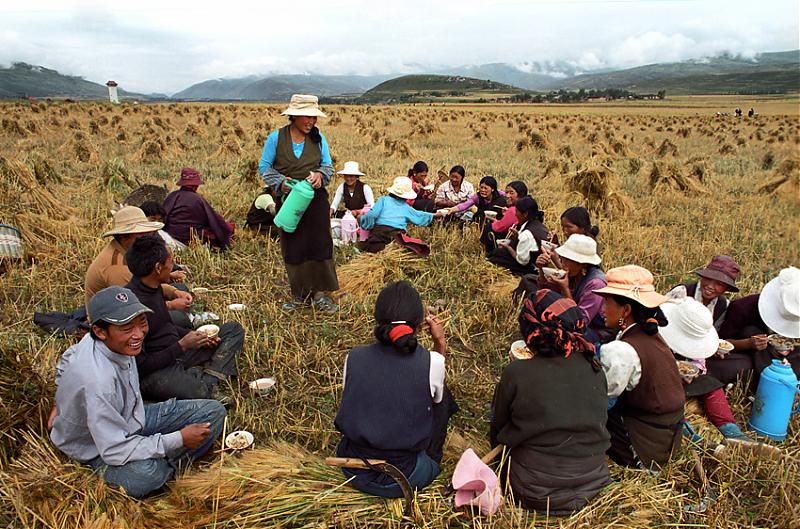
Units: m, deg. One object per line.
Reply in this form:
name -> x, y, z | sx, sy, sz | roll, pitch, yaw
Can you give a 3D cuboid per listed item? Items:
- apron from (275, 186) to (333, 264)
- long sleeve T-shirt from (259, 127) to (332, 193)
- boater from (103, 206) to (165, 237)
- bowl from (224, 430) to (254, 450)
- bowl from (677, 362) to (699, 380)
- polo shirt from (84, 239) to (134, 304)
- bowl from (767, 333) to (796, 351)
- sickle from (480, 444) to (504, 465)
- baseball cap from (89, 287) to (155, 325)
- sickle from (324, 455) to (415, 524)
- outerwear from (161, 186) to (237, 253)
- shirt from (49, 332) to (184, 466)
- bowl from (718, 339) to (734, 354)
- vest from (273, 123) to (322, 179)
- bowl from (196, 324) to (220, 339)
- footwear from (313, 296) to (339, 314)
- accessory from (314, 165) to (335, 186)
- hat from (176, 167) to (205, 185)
apron -> -1.118, -0.467, 5.921 | 0.720, 0.827, 0.472 | 21, 43, 4
long sleeve T-shirt -> -1.223, -1.253, 5.993 | 0.926, 0.764, 0.476 | -4, 22, -15
boater -> -2.836, -0.415, 5.209 | 0.491, 0.174, 0.354 | -13, 4, 28
bowl -> -1.480, 1.623, 4.615 | 0.225, 0.093, 0.222 | 0, 21, 0
bowl -> 2.766, 1.031, 4.850 | 0.209, 0.077, 0.195 | 0, 12, 0
polo shirt -> -3.109, 0.018, 5.258 | 0.567, 0.755, 1.007 | 2, 4, -26
bowl -> 3.835, 0.790, 5.079 | 0.206, 0.081, 0.194 | 0, 3, 0
sickle -> 0.800, 1.659, 4.379 | 0.337, 0.044, 0.075 | -19, 54, -35
baseball cap -> -2.358, 0.308, 4.241 | 0.554, 0.259, 0.389 | 0, 18, 33
sickle -> -0.220, 1.857, 4.119 | 0.582, 0.418, 0.077 | -4, -10, 6
outerwear -> -3.160, -0.760, 7.751 | 1.205, 0.787, 0.675 | 11, 19, 6
shirt -> -2.416, 1.185, 4.289 | 1.043, 0.989, 0.728 | 8, 30, -8
bowl -> 3.361, 0.849, 5.217 | 0.142, 0.059, 0.132 | -1, 8, 0
vest -> -1.205, -1.310, 5.927 | 0.578, 0.572, 0.374 | -5, 23, -11
bowl -> -1.941, 0.678, 5.158 | 0.149, 0.054, 0.148 | 6, 12, -1
footwear -> -0.918, 0.482, 6.250 | 0.352, 0.141, 0.159 | 10, 26, 15
accessory -> -0.876, -1.072, 5.965 | 0.237, 0.264, 0.147 | 0, 1, -3
hat -> -3.225, -1.301, 7.762 | 0.449, 0.224, 0.436 | -1, 4, -16
